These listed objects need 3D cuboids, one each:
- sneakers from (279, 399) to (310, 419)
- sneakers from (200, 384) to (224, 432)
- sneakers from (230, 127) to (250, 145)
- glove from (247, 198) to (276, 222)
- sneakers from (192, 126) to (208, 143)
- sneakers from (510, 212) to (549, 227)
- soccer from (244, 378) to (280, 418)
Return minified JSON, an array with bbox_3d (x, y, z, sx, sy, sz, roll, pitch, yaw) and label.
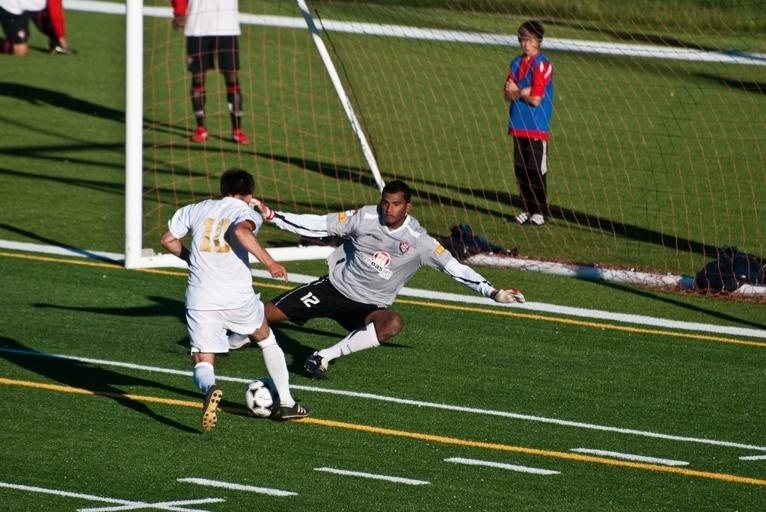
[{"bbox_3d":[-0.968,1.705,16.134,0.362,0.152,0.144,-7,27,-23],"label":"sneakers"},{"bbox_3d":[-1.815,1.617,15.634,0.206,0.533,0.273,6,3,-36],"label":"sneakers"},{"bbox_3d":[-2.148,-1.821,22.265,0.164,0.126,0.310,-25,50,-32],"label":"sneakers"},{"bbox_3d":[-1.376,-0.521,16.517,0.311,0.185,0.123,33,-31,-29],"label":"glove"},{"bbox_3d":[-2.737,-1.804,22.125,0.262,0.171,0.254,-11,-3,-4],"label":"sneakers"},{"bbox_3d":[2.108,-0.539,20.968,0.536,0.222,0.184,7,4,-1],"label":"sneakers"},{"bbox_3d":[-1.322,1.542,16.118,0.429,0.365,0.388,11,-5,-12],"label":"soccer"}]
